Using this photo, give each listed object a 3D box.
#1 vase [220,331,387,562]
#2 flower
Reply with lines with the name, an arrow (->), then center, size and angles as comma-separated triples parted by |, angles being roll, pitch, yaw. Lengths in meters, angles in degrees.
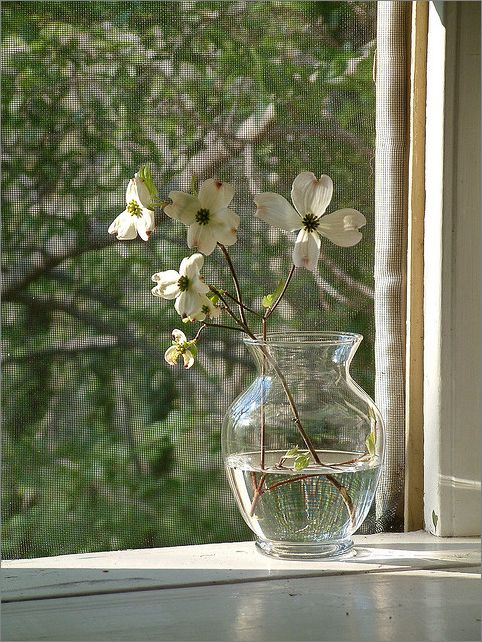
vase -> 0.080, 0.162, 1.156 | 0.236, 0.272, 0.239 | 1, 0, 38
flower -> -0.009, 0.030, 1.146 | 0.312, 0.444, 0.297 | -2, 6, -9
